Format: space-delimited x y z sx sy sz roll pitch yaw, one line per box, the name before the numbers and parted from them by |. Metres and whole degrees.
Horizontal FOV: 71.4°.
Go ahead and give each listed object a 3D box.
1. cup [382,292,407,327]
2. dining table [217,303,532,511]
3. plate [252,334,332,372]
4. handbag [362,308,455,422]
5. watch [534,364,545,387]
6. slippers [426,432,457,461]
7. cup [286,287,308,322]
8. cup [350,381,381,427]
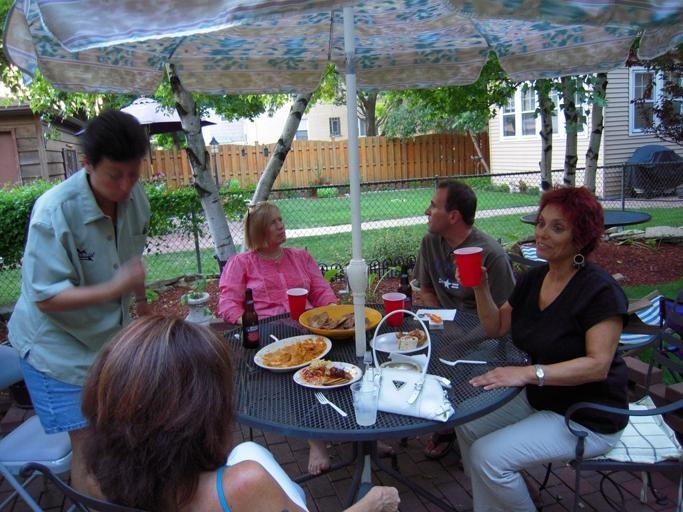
cup | 0.343 0.356 3.025 0.160 0.161 0.157 -3 -2 0
dining table | 0.053 0.762 2.350 1.245 0.638 1.262 2 7 30
plate | -0.236 0.554 2.699 0.405 0.468 0.073 -8 49 9
handbag | 0.296 0.525 2.299 0.502 0.464 0.206 1 -5 27
watch | 0.986 0.599 2.404 0.053 0.088 0.082 -3 0 9
slippers | 0.725 1.333 3.440 0.113 0.090 0.290 -2 13 38
cup | -0.279 0.334 3.167 0.176 0.190 0.182 0 1 0
cup | 0.084 0.655 2.120 0.123 0.137 0.125 3 -22 1
